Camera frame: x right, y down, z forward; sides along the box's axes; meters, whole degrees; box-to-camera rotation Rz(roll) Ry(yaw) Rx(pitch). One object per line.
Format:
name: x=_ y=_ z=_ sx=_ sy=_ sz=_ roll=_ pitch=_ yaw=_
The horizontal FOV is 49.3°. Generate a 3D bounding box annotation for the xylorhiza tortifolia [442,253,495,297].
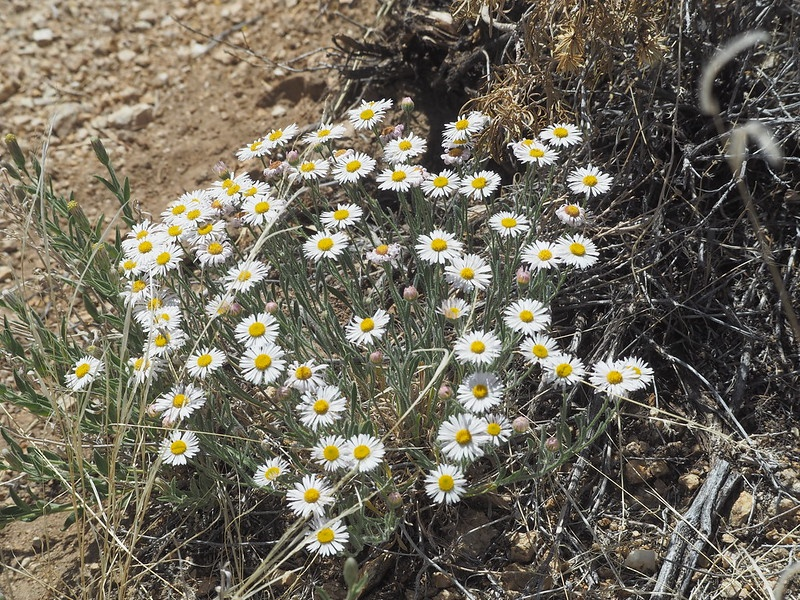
xylorhiza tortifolia: x=0.359 y=-0.067 z=4.478 sx=0.238 sy=0.333 sz=0.234 roll=-4 pitch=57 yaw=8

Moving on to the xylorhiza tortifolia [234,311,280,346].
xylorhiza tortifolia: x=-0.729 y=0.160 z=4.439 sx=0.219 sy=0.150 sz=0.229 roll=-2 pitch=60 yaw=11

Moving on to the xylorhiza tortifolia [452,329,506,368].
xylorhiza tortifolia: x=0.379 y=0.250 z=4.293 sx=0.229 sy=0.179 sz=0.170 roll=-1 pitch=58 yaw=11

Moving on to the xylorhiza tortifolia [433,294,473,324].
xylorhiza tortifolia: x=0.270 y=0.060 z=4.392 sx=0.116 sy=0.059 sz=0.148 roll=5 pitch=60 yaw=2

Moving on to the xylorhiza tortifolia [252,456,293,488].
xylorhiza tortifolia: x=-0.644 y=0.864 z=4.323 sx=0.165 sy=0.167 sz=0.140 roll=-23 pitch=57 yaw=-3

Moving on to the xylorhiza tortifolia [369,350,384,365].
xylorhiza tortifolia: x=-0.126 y=0.283 z=4.431 sx=0.064 sy=0.072 sz=0.058 roll=-41 pitch=38 yaw=-6

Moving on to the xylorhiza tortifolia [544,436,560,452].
xylorhiza tortifolia: x=0.720 y=0.680 z=4.135 sx=0.058 sy=0.041 sz=0.061 roll=-13 pitch=25 yaw=-32

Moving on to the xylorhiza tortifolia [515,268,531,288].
xylorhiza tortifolia: x=0.619 y=-0.125 z=4.385 sx=0.059 sy=0.089 sz=0.084 roll=2 pitch=44 yaw=11

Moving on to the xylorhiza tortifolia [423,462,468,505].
xylorhiza tortifolia: x=0.222 y=0.884 z=4.181 sx=0.187 sy=0.191 sz=0.208 roll=-5 pitch=58 yaw=8
